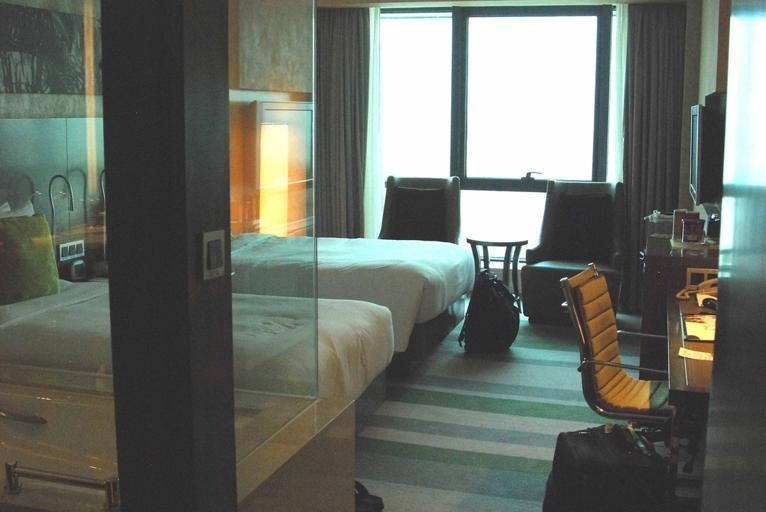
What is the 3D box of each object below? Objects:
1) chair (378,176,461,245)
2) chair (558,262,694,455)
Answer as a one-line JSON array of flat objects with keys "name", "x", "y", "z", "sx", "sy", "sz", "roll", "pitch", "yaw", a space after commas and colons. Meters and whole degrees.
[{"name": "chair", "x": 0.333, "y": -0.423, "z": 5.934, "sx": 0.645, "sy": 0.499, "sz": 0.663, "roll": 2, "pitch": 19, "yaw": -1}, {"name": "chair", "x": 1.005, "y": 0.391, "z": 2.906, "sx": 0.685, "sy": 0.845, "sz": 0.732, "roll": 1, "pitch": 7, "yaw": 25}]
